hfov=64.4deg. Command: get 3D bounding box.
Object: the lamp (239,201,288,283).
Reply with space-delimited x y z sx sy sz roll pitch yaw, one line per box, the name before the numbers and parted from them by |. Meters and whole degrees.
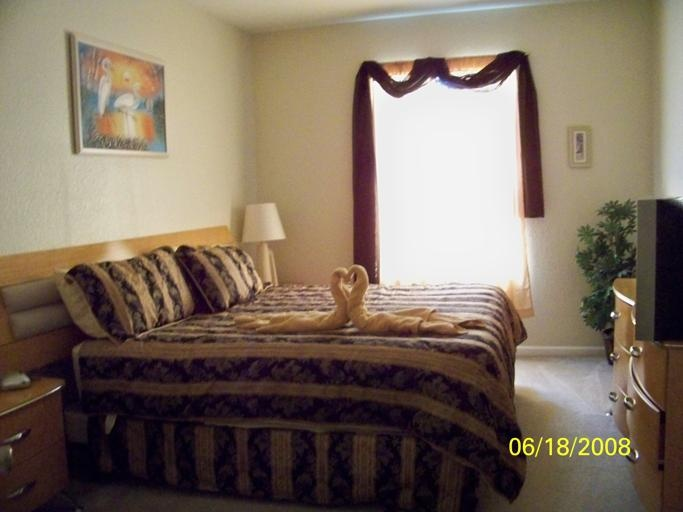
lamp | -0.789 -0.106 5.435 0.413 0.857 0.427 -1 11 12
